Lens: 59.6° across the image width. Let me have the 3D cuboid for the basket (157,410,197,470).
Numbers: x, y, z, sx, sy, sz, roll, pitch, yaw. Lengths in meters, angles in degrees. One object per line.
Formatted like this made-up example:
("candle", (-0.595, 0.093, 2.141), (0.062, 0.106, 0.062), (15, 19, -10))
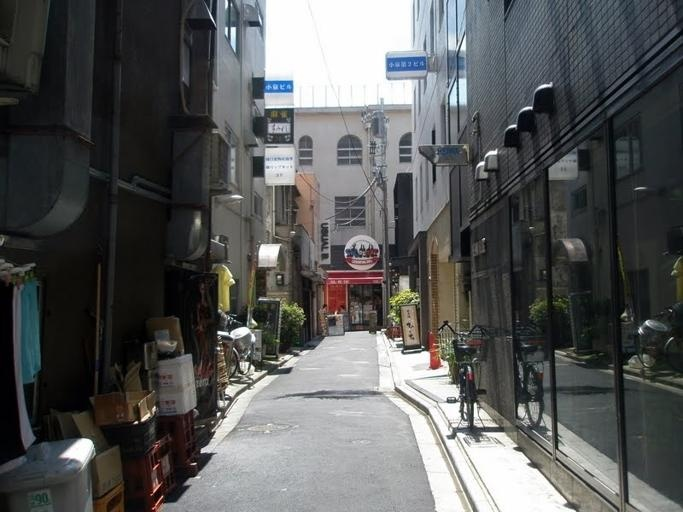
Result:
("basket", (-2.132, 2.386, 7.984), (0.449, 0.742, 0.971), (-2, -3, 2))

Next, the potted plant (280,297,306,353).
("potted plant", (-2.418, 2.968, 26.228), (1.392, 2.561, 1.922), (2, -2, 4))

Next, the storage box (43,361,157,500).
("storage box", (-2.515, 1.899, 6.163), (0.909, 0.556, 0.708), (-1, 0, 6))

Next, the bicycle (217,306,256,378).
("bicycle", (-2.816, 2.435, 15.738), (0.735, 1.223, 1.806), (-3, -8, 5))
